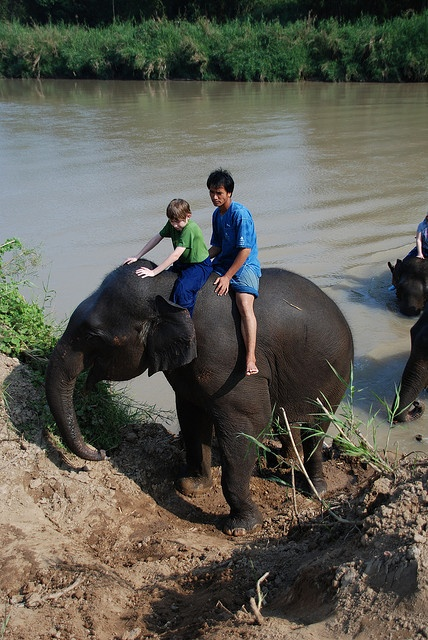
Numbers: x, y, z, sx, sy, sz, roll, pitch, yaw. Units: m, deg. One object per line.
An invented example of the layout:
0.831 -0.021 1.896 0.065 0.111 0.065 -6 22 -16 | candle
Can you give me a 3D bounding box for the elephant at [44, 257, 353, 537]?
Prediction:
0.019 0.279 3.719 2.336 1.694 1.040 0 7 -14 | elephant
